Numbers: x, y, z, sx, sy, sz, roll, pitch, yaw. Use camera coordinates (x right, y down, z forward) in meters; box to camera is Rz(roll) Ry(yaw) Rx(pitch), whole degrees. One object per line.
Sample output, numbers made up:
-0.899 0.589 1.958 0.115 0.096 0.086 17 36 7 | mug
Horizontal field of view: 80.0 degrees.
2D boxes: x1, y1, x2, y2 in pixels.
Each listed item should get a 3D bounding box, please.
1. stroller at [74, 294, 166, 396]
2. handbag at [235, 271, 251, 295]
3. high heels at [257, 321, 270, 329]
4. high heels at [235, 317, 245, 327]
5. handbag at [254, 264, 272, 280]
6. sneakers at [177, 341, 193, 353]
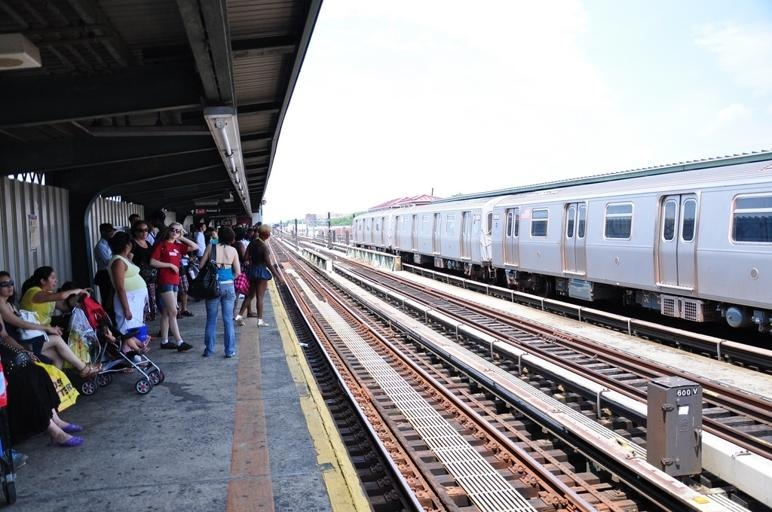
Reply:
-3.988 1.287 6.802 0.998 1.558 0.761 -6 5 -34 | stroller
-3.025 0.565 9.652 0.242 0.491 0.643 -2 5 0 | handbag
-3.008 1.661 11.110 0.340 0.146 0.116 -4 7 -21 | high heels
-3.596 1.621 11.279 0.121 0.135 0.328 22 -2 28 | high heels
-2.860 0.365 10.555 0.337 0.288 0.209 7 17 41 | handbag
-3.901 1.752 8.793 0.351 0.140 0.127 -2 9 -14 | sneakers
